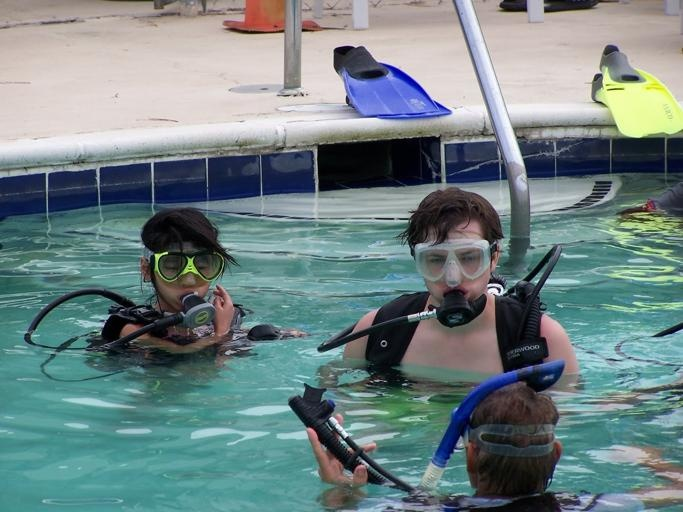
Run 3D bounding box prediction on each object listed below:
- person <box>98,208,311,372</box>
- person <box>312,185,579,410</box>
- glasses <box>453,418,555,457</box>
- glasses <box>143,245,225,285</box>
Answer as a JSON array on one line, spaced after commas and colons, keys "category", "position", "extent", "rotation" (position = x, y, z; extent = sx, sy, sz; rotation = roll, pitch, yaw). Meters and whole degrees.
[{"category": "person", "position": [-0.497, 0.156, 3.364], "extent": [1.361, 0.574, 0.687], "rotation": [-1, -11, 28]}, {"category": "person", "position": [0.468, 0.196, 3.348], "extent": [1.849, 0.885, 0.767], "rotation": [-1, -4, 7]}, {"category": "glasses", "position": [0.429, 0.460, 1.893], "extent": [0.225, 0.092, 0.069], "rotation": [-3, 11, 5]}, {"category": "glasses", "position": [-0.661, 0.043, 3.176], "extent": [0.326, 0.153, 0.110], "rotation": [-5, 11, -8]}]
